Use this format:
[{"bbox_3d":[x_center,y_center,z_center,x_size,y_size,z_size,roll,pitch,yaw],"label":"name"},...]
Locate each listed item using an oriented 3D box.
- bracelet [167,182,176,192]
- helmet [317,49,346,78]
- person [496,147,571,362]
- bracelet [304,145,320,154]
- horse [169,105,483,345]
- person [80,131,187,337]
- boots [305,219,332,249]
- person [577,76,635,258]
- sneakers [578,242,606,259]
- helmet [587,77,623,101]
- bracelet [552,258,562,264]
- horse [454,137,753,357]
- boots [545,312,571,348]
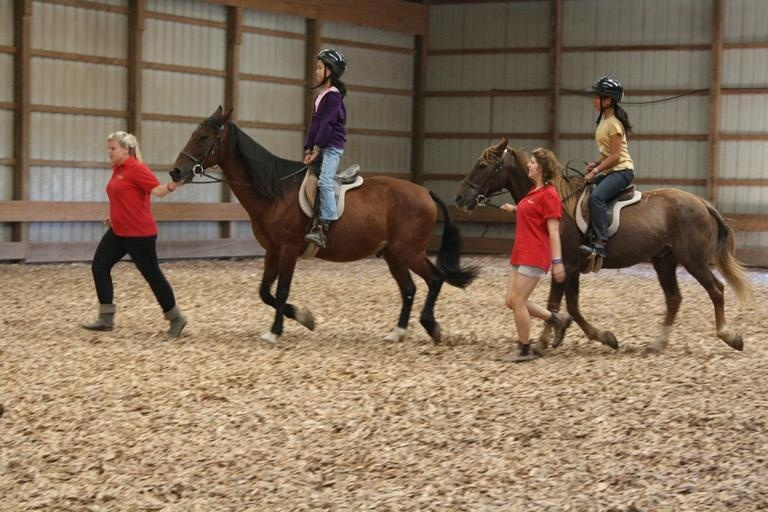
[{"bbox_3d":[-1.856,-0.614,6.367,0.084,0.034,0.102,4,0,-19],"label":"bracelet"},{"bbox_3d":[-0.476,-1.798,6.771,0.216,0.258,0.244,3,10,9],"label":"helmet"},{"bbox_3d":[1.298,-0.004,6.150,0.491,1.786,0.621,11,14,44],"label":"person"},{"bbox_3d":[-0.649,-1.000,6.722,0.083,0.036,0.103,-5,41,30],"label":"bracelet"},{"bbox_3d":[-0.477,-0.196,7.060,3.331,1.728,0.725,6,-5,-25],"label":"horse"},{"bbox_3d":[-2.345,-0.194,6.775,0.955,1.893,0.317,4,10,13],"label":"person"},{"bbox_3d":[-0.594,-0.229,6.672,0.254,0.245,0.128,-2,10,-15],"label":"boots"},{"bbox_3d":[2.032,-0.769,6.586,0.412,1.673,0.584,4,10,17],"label":"person"},{"bbox_3d":[1.867,-0.073,6.556,0.249,0.144,0.094,7,3,4],"label":"sneakers"},{"bbox_3d":[2.006,-1.504,6.550,0.254,0.211,0.302,5,10,20],"label":"helmet"},{"bbox_3d":[1.430,0.025,6.018,0.076,0.051,0.074,2,10,6],"label":"bracelet"},{"bbox_3d":[2.043,-0.086,6.797,3.019,1.762,0.665,4,-9,-16],"label":"horse"},{"bbox_3d":[1.539,0.641,6.482,0.259,0.312,0.111,15,35,-7],"label":"boots"}]
